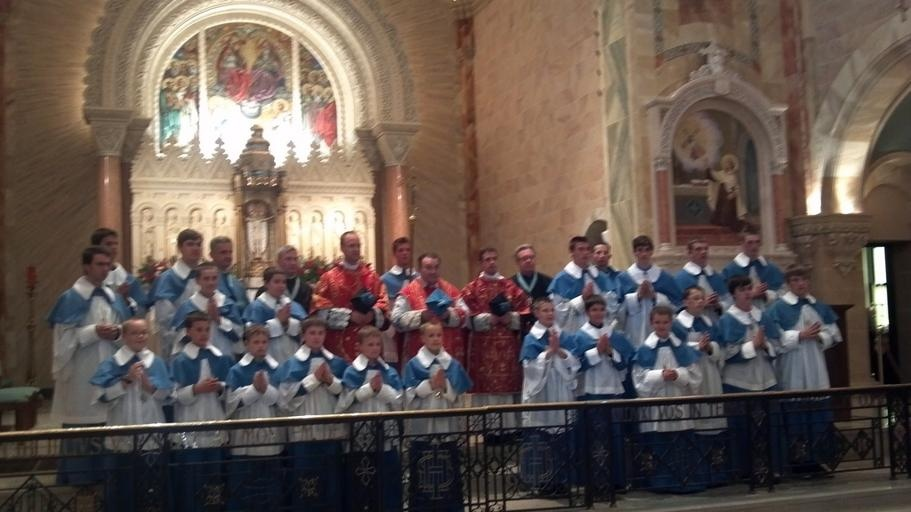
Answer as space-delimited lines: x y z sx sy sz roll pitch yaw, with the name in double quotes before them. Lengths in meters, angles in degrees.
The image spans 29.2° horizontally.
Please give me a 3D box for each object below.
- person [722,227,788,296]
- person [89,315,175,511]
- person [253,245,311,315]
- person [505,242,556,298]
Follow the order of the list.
"person" 4.541 0.068 26.730 1.292 1.119 0.699 0 -3 -12
"person" -4.482 2.119 24.324 1.130 2.616 0.855 -6 -8 12
"person" -2.626 0.350 26.549 1.043 1.144 0.402 -11 5 -38
"person" 1.215 0.177 27.551 0.961 0.741 0.469 -5 0 -8
